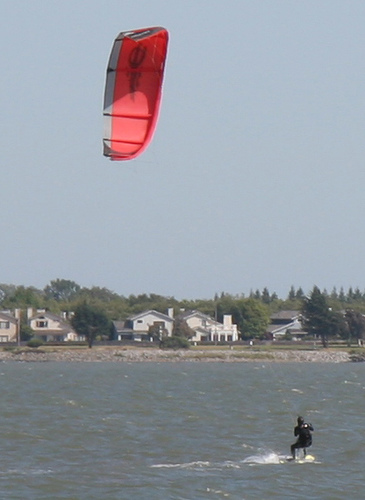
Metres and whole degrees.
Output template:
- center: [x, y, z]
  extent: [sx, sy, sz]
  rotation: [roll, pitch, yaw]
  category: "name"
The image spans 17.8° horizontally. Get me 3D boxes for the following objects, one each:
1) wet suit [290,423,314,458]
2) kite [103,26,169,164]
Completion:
- center: [3.971, 6.382, 38.714]
  extent: [0.623, 1.430, 0.720]
  rotation: [6, 4, 14]
  category: "wet suit"
- center: [-1.476, -4.641, 35.692]
  extent: [1.789, 4.530, 0.666]
  rotation: [0, -27, 12]
  category: "kite"
